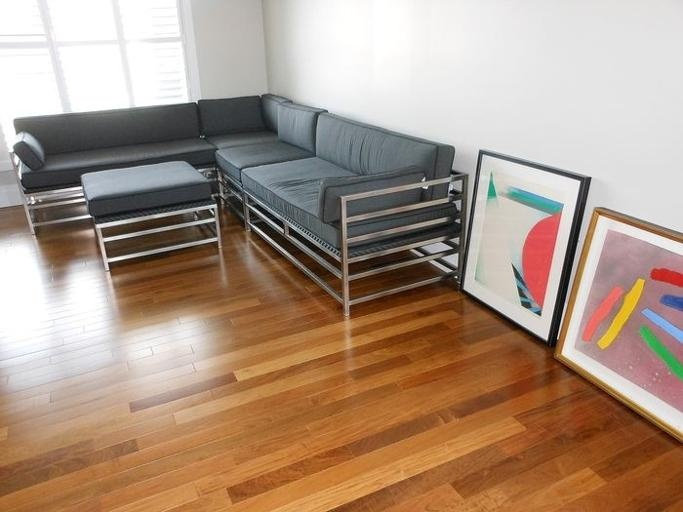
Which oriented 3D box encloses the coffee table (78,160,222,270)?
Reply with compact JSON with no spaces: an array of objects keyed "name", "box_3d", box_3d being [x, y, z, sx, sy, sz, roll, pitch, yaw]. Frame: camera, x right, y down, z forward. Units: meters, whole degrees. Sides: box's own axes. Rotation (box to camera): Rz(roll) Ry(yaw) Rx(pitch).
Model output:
[{"name":"coffee table","box_3d":[-1.567,-0.389,4.049,0.970,0.569,0.929,-14,30,-22]}]
